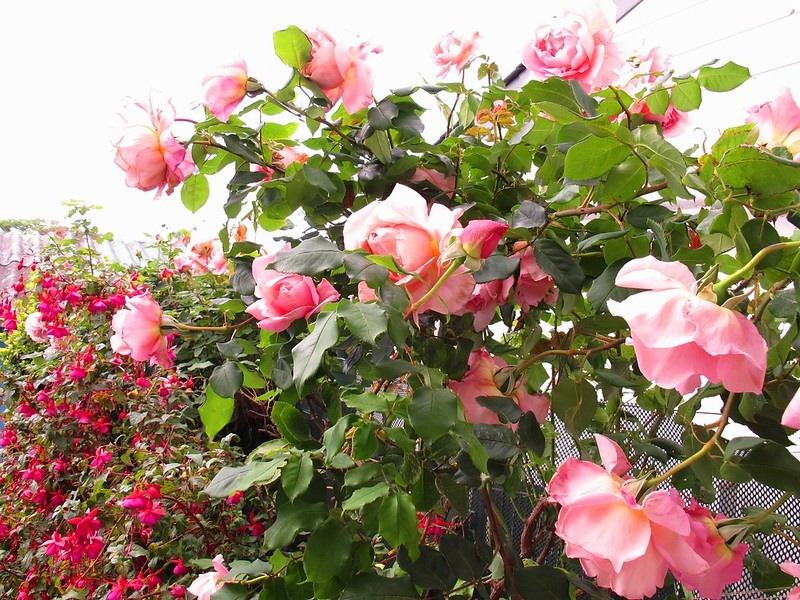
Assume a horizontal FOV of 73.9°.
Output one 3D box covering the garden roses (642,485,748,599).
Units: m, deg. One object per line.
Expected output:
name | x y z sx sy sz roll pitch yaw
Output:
garden roses | 0.318 0.240 0.596 0.051 0.124 0.119 -22 -43 -6

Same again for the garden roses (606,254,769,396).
garden roses | 0.247 0.047 0.524 0.128 0.129 0.091 36 -74 -15

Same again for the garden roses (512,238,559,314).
garden roses | 0.193 -0.044 0.770 0.078 0.051 0.084 -16 -62 22
